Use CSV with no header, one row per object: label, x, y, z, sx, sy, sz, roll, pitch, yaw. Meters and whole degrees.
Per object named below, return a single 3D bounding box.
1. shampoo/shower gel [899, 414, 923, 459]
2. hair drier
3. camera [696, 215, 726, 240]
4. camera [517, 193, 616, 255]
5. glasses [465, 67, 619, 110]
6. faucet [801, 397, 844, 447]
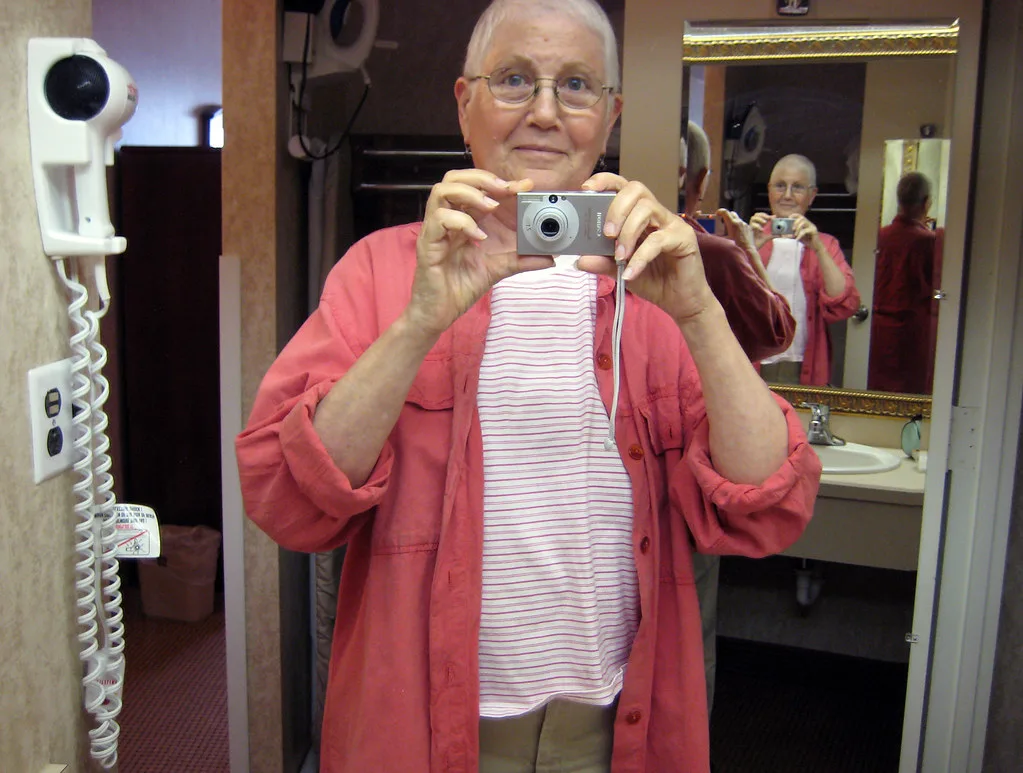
shampoo/shower gel,1.308,0.166,2.961,0.027,0.131,0.086,4,-1,2
hair drier,-0.652,-0.441,1.406,0.059,0.181,0.135,9,11,35
camera,0.631,-0.508,2.879,0.067,0.085,0.137,5,10,23
camera,0.089,-0.292,1.470,0.163,0.118,0.109,-1,44,1
glasses,0.046,-0.504,1.553,0.235,0.067,0.078,4,10,-4
faucet,1.040,0.109,3.026,0.127,0.159,0.129,1,6,25
